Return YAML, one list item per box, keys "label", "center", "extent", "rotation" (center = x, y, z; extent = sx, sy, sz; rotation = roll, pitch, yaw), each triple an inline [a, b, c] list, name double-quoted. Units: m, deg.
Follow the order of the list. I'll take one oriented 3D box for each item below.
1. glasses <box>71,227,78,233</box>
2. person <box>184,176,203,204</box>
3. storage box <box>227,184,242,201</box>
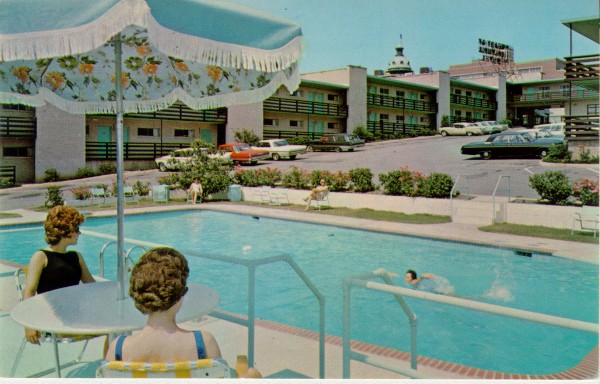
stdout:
- label: "glasses"
  center: [-4.016, 0.667, 10.282]
  extent: [0.061, 0.069, 0.071]
  rotation: [-1, -8, -1]
- label: "person"
  center: [-5.088, -0.094, 27.709]
  extent: [0.701, 1.220, 1.018]
  rotation: [2, 7, 6]
- label: "storage box"
  center: [-3.338, 0.018, 29.588]
  extent: [0.727, 1.054, 0.731]
  rotation: [-2, 6, -13]
